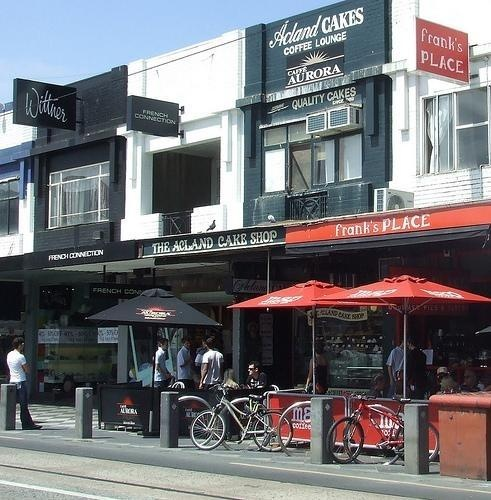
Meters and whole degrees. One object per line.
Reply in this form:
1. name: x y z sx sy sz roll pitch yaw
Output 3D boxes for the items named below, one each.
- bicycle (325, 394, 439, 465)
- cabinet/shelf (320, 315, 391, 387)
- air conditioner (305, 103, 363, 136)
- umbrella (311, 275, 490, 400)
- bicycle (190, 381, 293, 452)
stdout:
1. bicycle: 1.958 2.533 12.079 1.591 1.045 0.738 1 11 5
2. cabinet/shelf: 2.582 2.234 19.787 0.683 1.979 1.851 -1 -1 -45
3. air conditioner: 1.868 -2.721 18.080 1.172 0.461 0.416 -5 -6 34
4. umbrella: 2.316 1.403 13.457 2.239 1.929 2.952 0 -5 -17
5. bicycle: -0.074 2.785 13.683 1.512 1.086 0.829 1 -23 1
